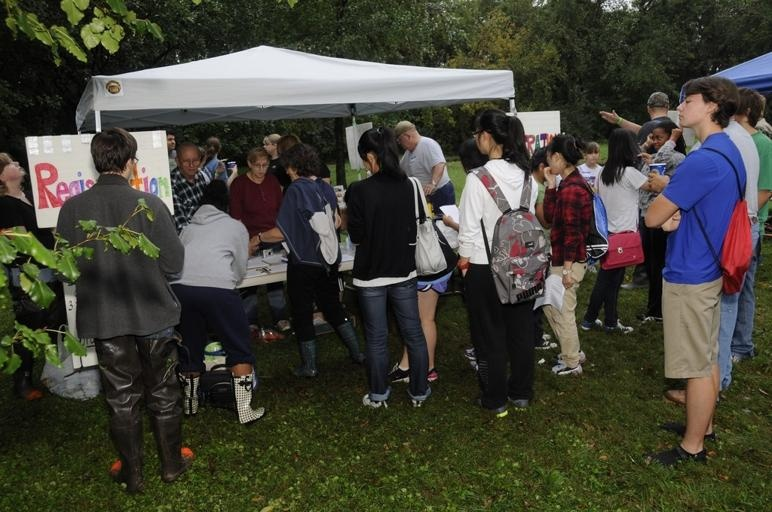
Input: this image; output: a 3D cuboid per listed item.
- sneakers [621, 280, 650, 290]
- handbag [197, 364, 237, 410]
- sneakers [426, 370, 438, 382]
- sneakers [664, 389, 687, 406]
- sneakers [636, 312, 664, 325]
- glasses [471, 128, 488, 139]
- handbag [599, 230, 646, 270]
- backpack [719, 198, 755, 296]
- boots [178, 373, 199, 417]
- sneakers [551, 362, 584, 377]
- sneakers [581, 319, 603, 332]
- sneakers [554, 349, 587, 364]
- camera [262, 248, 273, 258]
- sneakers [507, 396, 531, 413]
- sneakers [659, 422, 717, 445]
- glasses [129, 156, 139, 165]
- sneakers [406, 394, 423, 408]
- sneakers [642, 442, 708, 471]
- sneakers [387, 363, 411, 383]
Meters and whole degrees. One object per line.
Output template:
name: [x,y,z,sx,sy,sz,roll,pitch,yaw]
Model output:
sneakers: [3.544,0.435,8.303,0.358,0.162,0.123,-10,-4,37]
handbag: [-1.662,1.304,5.843,0.355,0.372,0.213,1,14,-28]
sneakers: [0.494,1.283,6.196,0.066,0.078,0.190,1,2,4]
sneakers: [2.838,1.382,5.747,0.218,0.090,0.130,17,58,42]
sneakers: [3.277,0.770,7.249,0.386,0.176,0.134,6,9,41]
glasses: [0.867,-1.145,5.383,0.147,0.054,0.158,0,7,-2]
handbag: [2.605,-0.077,6.464,0.410,0.365,0.149,-9,5,-7]
backpack: [2.841,-0.060,4.730,0.206,0.799,0.290,0,9,31]
boots: [-1.981,1.459,5.867,0.125,0.310,0.306,2,-2,-21]
sneakers: [1.911,1.224,6.187,0.340,0.163,0.129,2,7,5]
sneakers: [2.522,0.854,7.135,0.350,0.127,0.151,-4,-13,-20]
sneakers: [2.030,1.089,6.351,0.422,0.192,0.143,5,-9,-43]
camera: [-1.388,-0.042,6.800,0.128,0.112,0.070,-6,8,-40]
sneakers: [1.305,1.462,5.696,0.208,0.159,0.118,3,0,-6]
sneakers: [2.731,1.579,5.280,0.432,0.194,0.159,15,22,35]
glasses: [-2.122,-0.812,4.895,0.066,0.056,0.091,-12,15,-30]
sneakers: [0.289,1.448,5.804,0.098,0.127,0.126,2,9,-13]
sneakers: [2.458,1.707,4.978,0.500,0.160,0.199,0,-5,8]
sneakers: [0.138,1.285,6.223,0.277,0.131,0.103,-4,-10,-14]
